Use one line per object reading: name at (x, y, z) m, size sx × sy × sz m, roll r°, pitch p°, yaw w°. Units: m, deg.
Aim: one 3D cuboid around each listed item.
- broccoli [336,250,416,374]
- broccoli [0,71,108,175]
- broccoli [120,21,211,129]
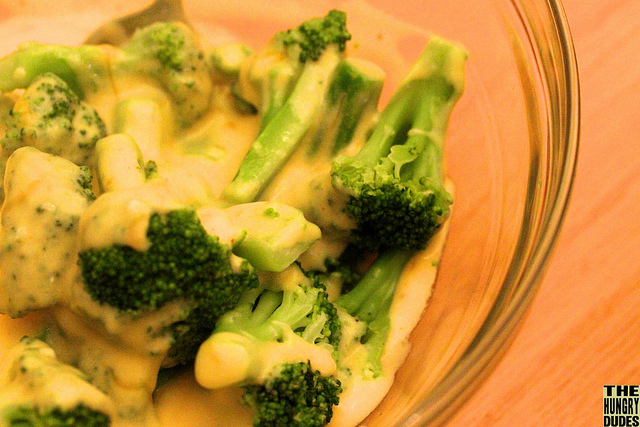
broccoli at (0.160, 0.286, 2.105) m, size 0.192 × 0.238 × 0.210 m, roll 18°, pitch 12°, yaw 4°
broccoli at (-0.831, -0.294, 2.063) m, size 0.298 × 0.305 × 0.092 m, roll 39°, pitch -35°, yaw -25°
broccoli at (-0.525, -0.524, 2.305) m, size 0.325 × 0.317 × 0.116 m, roll 44°, pitch -9°, yaw -18°
